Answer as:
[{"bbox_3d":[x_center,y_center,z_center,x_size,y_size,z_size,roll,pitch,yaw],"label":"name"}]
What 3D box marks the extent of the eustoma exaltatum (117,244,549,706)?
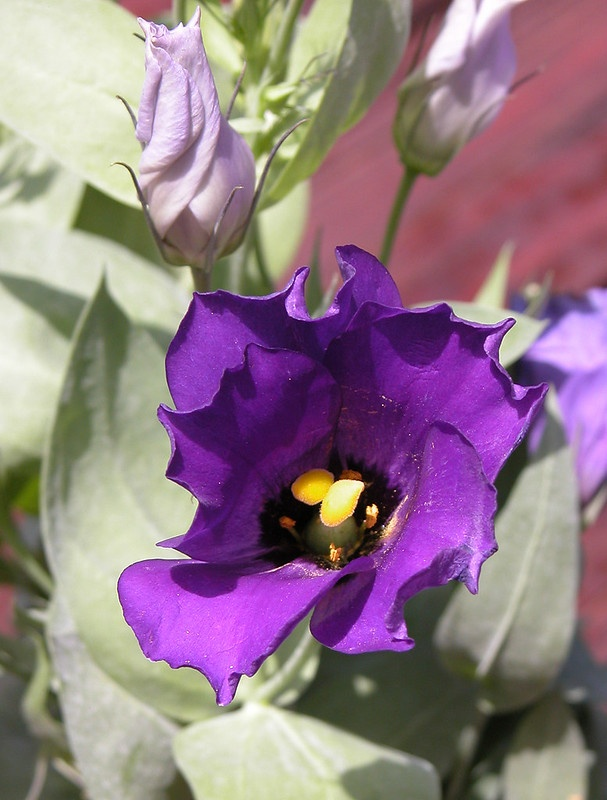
[{"bbox_3d":[0.010,0.029,0.263,0.129,0.044,0.096,-23,36,-17],"label":"eustoma exaltatum"}]
